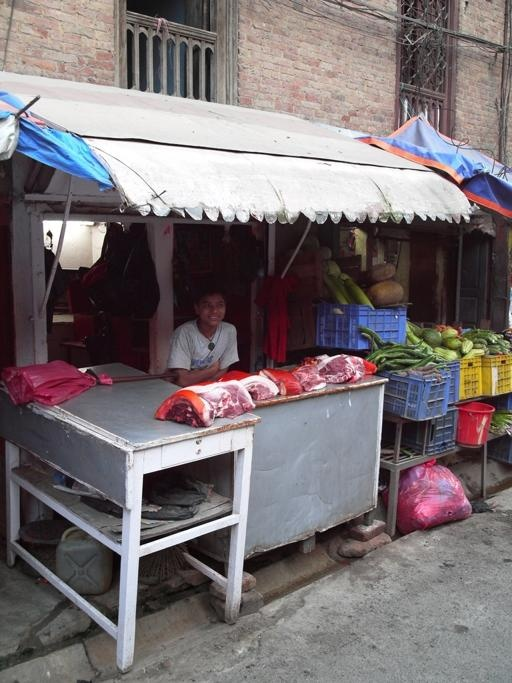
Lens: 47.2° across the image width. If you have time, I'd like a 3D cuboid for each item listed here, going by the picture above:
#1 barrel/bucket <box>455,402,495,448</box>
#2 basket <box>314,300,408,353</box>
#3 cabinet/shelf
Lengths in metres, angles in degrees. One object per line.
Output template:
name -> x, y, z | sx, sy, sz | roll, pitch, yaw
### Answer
barrel/bucket -> 1.905, 0.723, 5.210 | 0.400, 0.352, 0.422 | 0, 4, 0
basket -> 0.949, -0.175, 5.327 | 0.688, 0.423, 0.788 | -2, 9, -34
cabinet/shelf -> 1.458, 0.861, 4.858 | 1.376, 1.003, 0.907 | -4, 4, -43
